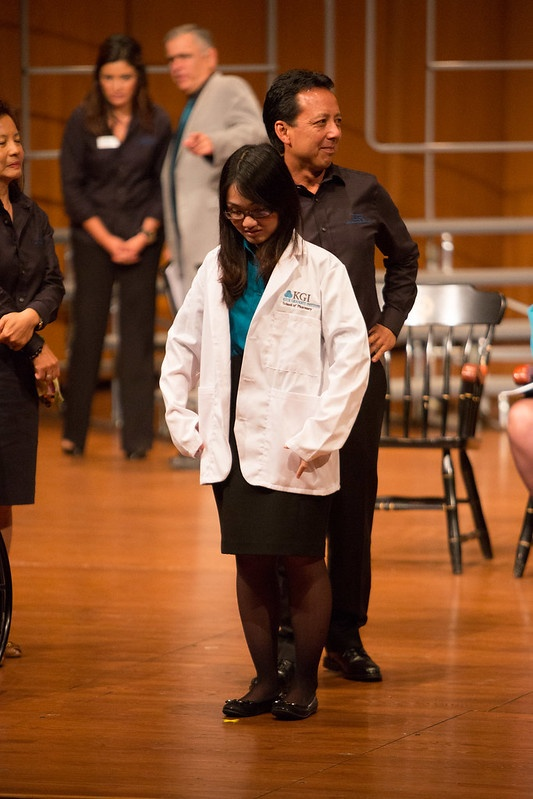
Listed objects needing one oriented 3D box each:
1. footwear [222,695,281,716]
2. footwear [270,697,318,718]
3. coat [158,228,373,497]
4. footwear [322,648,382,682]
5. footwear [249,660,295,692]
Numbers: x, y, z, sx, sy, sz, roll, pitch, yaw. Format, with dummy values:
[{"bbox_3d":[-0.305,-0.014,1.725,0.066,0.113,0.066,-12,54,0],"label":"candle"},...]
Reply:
[{"bbox_3d":[-0.026,0.551,1.459,0.037,0.028,0.110,-11,-19,34],"label":"footwear"},{"bbox_3d":[0.046,0.545,1.425,0.031,0.028,0.081,-8,-20,28],"label":"footwear"},{"bbox_3d":[-0.001,-0.062,1.455,0.386,0.460,0.238,5,8,27],"label":"coat"},{"bbox_3d":[0.176,0.558,1.713,0.052,0.056,0.134,2,-5,-36],"label":"footwear"},{"bbox_3d":[0.003,0.555,1.619,0.047,0.044,0.119,1,-10,9],"label":"footwear"}]
